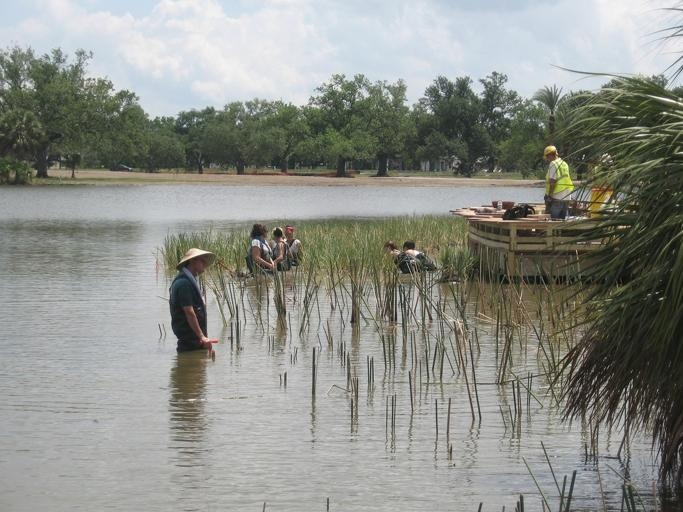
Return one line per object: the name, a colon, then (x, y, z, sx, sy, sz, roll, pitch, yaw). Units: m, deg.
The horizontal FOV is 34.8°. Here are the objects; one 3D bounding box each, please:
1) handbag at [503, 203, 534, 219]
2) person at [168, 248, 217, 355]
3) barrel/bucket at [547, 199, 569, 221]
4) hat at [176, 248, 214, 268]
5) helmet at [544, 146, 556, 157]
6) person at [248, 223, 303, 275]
handbag: (3.451, -0.861, 21.878, 0.372, 0.195, 0.490, -3, 0, -19)
person: (-2.062, 0.643, 15.139, 0.592, 1.449, 0.489, -3, 11, -12)
barrel/bucket: (4.265, -0.901, 21.593, 0.376, 0.675, 0.484, 0, 4, 30)
hat: (-2.023, 0.042, 15.242, 0.532, 0.303, 0.618, -3, 10, -9)
helmet: (4.068, -2.059, 21.365, 0.213, 0.151, 0.284, -5, -5, 29)
person: (-1.346, -0.090, 22.241, 0.902, 1.609, 0.755, -10, 23, -18)
